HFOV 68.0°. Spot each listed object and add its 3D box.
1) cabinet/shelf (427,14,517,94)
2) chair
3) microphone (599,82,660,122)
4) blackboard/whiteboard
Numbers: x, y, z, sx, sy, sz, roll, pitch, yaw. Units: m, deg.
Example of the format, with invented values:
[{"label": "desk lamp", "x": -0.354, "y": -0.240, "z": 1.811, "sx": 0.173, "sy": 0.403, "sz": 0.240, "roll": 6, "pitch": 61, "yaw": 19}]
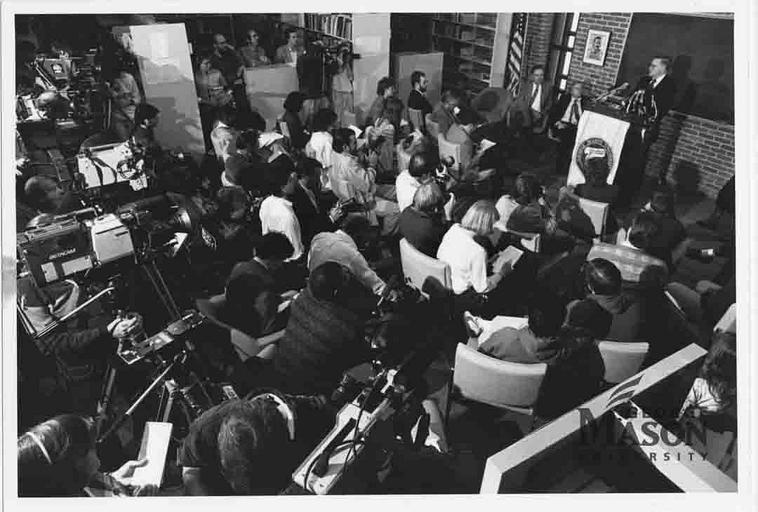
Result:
[{"label": "cabinet/shelf", "x": 0.599, "y": -1.366, "z": 3.756, "sx": 0.389, "sy": 0.376, "sz": 0.116, "roll": 33, "pitch": 46, "yaw": 30}, {"label": "chair", "x": -0.041, "y": 0.170, "z": 3.723, "sx": 2.023, "sy": 1.218, "sz": 1.997, "roll": -27, "pitch": 50, "yaw": -17}, {"label": "microphone", "x": 1.685, "y": -1.012, "z": 3.768, "sx": 0.219, "sy": 0.169, "sz": 0.329, "roll": 2, "pitch": 32, "yaw": -45}, {"label": "blackboard/whiteboard", "x": 1.976, "y": -1.288, "z": 3.694, "sx": 0.033, "sy": 0.651, "sz": 0.909, "roll": -19, "pitch": 29, "yaw": -8}]
